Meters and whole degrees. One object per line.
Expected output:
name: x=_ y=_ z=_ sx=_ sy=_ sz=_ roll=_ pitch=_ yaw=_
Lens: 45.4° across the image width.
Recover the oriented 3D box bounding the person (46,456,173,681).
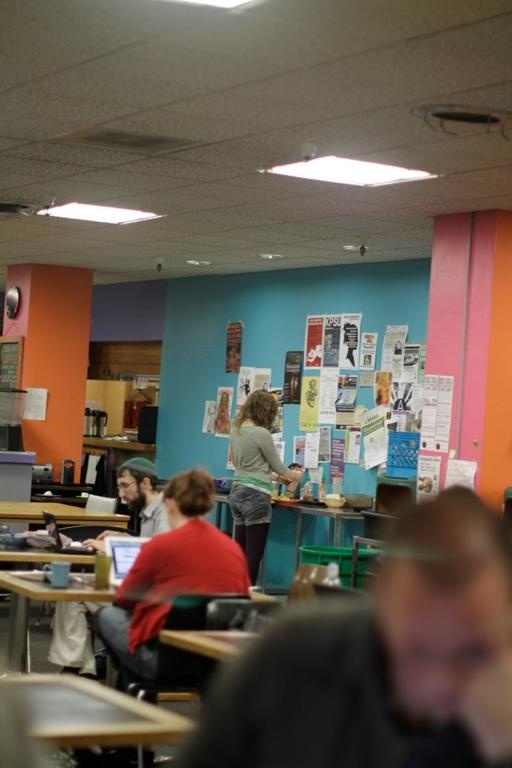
person: x=-1.063 y=1.375 z=4.667 sx=0.917 sy=1.553 sz=0.689 roll=2 pitch=4 yaw=-21

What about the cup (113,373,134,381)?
cup: x=-2.508 y=-0.127 z=11.601 sx=0.526 sy=0.111 sz=0.080 roll=2 pitch=-2 yaw=36

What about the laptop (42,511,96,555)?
laptop: x=-1.385 y=1.075 z=4.589 sx=0.254 sy=0.286 sz=0.408 roll=-5 pitch=0 yaw=-17

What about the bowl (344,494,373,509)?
bowl: x=1.244 y=1.407 z=7.308 sx=0.236 sy=0.091 sz=0.181 roll=1 pitch=0 yaw=-8

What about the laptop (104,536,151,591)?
laptop: x=-0.752 y=1.051 z=3.543 sx=0.346 sy=0.319 sz=0.275 roll=6 pitch=-12 yaw=-30

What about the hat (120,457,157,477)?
hat: x=-0.834 y=0.583 z=4.321 sx=0.201 sy=0.075 sz=0.149 roll=3 pitch=-2 yaw=44

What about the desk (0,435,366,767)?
desk: x=-0.475 y=1.016 z=3.705 sx=1.332 sy=1.815 sz=1.376 roll=2 pitch=1 yaw=-28
